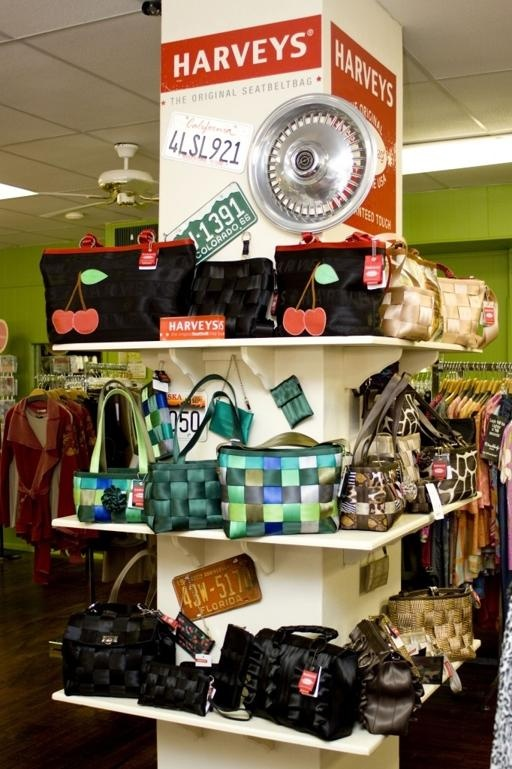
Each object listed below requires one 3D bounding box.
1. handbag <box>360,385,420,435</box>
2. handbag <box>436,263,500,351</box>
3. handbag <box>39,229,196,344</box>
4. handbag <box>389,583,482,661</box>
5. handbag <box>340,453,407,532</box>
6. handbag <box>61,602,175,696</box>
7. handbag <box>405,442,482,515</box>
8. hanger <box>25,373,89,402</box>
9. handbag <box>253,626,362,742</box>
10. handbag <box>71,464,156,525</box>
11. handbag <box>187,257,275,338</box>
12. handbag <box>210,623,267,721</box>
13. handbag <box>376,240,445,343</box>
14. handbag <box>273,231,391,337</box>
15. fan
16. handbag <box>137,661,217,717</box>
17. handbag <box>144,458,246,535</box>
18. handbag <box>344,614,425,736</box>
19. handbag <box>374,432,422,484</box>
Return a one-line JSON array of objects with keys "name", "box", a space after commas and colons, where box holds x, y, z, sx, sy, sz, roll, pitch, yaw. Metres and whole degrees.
[{"name": "handbag", "box": [0.460, 0.080, 1.861, 0.194, 0.221, 0.135, -1, -3, 27]}, {"name": "handbag", "box": [0.624, -0.255, 1.800, 0.226, 0.241, 0.116, 4, 11, -6]}, {"name": "handbag", "box": [-0.378, -0.247, 1.583, 0.472, 0.270, 0.131, -2, -6, 22]}, {"name": "handbag", "box": [0.585, 0.788, 1.896, 0.254, 0.206, 0.152, -5, -13, 8]}, {"name": "handbag", "box": [0.293, 0.267, 1.432, 0.127, 0.174, 0.189, -2, 2, 29]}, {"name": "handbag", "box": [-0.433, 0.810, 1.692, 0.277, 0.267, 0.252, 12, -44, -21]}, {"name": "handbag", "box": [0.626, 0.345, 1.941, 0.190, 0.248, 0.353, 11, -19, 0]}, {"name": "hanger", "box": [-1.655, 0.003, 4.842, 0.795, 0.326, 0.240, 3, 1, 37]}, {"name": "handbag", "box": [0.102, 0.676, 1.340, 0.228, 0.223, 0.131, -3, -27, 34]}, {"name": "handbag", "box": [-0.393, 0.304, 1.633, 0.225, 0.156, 0.134, 2, 5, -4]}, {"name": "handbag", "box": [-0.059, -0.216, 1.464, 0.195, 0.181, 0.077, -1, -8, 37]}, {"name": "handbag", "box": [-0.041, 0.722, 1.474, 0.057, 0.204, 0.139, 8, -5, -34]}, {"name": "handbag", "box": [0.420, -0.230, 1.505, 0.112, 0.239, 0.237, -1, -1, 29]}, {"name": "handbag", "box": [0.163, -0.231, 1.365, 0.263, 0.259, 0.157, 2, 0, 33]}, {"name": "fan", "box": [-0.986, -1.410, 4.181, 0.803, 0.349, 0.817, -2, -1, -28]}, {"name": "handbag", "box": [-0.202, 0.803, 1.544, 0.213, 0.099, 0.104, -2, -6, 25]}, {"name": "handbag", "box": [-0.159, 0.255, 1.488, 0.249, 0.194, 0.148, -8, 14, 25]}, {"name": "handbag", "box": [0.304, 0.672, 1.380, 0.135, 0.194, 0.261, 0, 5, 1]}, {"name": "handbag", "box": [0.421, 0.196, 1.740, 0.151, 0.129, 0.158, -2, 1, 35]}]
